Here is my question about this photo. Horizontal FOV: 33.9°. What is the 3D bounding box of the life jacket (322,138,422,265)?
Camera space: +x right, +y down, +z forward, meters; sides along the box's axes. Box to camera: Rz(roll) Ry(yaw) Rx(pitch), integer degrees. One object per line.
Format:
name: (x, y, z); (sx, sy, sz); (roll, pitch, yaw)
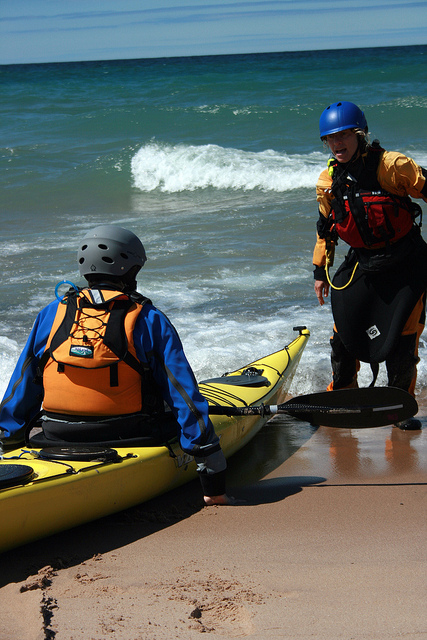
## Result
life jacket: (0.838, -0.632, 3.645); (0.456, 0.611, 0.247); (-1, 11, 11)

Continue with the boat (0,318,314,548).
boat: (-0.198, 0.460, 3.522); (0.498, 0.365, 2.025); (23, 25, 31)

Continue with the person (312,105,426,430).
person: (0.851, -0.350, 3.814); (0.455, 1.596, 0.821); (-11, 12, -34)

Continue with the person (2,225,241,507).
person: (-0.456, 0.239, 3.098); (1.080, 1.298, 0.412); (-3, 10, 0)

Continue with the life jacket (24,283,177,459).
life jacket: (-0.360, 0.183, 3.095); (0.625, 0.542, 0.617); (3, -12, 10)
